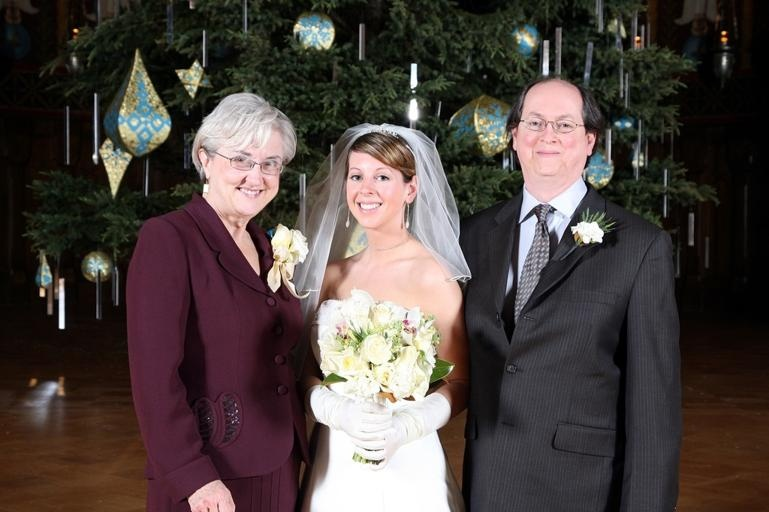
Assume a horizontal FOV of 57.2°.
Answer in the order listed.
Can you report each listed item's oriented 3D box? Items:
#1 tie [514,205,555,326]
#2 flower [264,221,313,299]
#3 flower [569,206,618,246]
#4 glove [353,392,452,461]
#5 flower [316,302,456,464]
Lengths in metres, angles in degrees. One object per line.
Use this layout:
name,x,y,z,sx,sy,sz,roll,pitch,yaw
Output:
tie,0.845,0.037,3.977,0.158,0.727,0.079,7,-14,21
flower,-0.601,0.067,3.975,0.158,0.307,0.217,-3,-23,-11
flower,1.166,-0.150,3.928,0.194,0.121,0.200,33,17,38
glove,0.106,0.977,3.900,0.517,0.298,0.142,-34,9,-8
flower,0.009,0.710,3.867,0.556,0.584,0.502,-34,51,-25
